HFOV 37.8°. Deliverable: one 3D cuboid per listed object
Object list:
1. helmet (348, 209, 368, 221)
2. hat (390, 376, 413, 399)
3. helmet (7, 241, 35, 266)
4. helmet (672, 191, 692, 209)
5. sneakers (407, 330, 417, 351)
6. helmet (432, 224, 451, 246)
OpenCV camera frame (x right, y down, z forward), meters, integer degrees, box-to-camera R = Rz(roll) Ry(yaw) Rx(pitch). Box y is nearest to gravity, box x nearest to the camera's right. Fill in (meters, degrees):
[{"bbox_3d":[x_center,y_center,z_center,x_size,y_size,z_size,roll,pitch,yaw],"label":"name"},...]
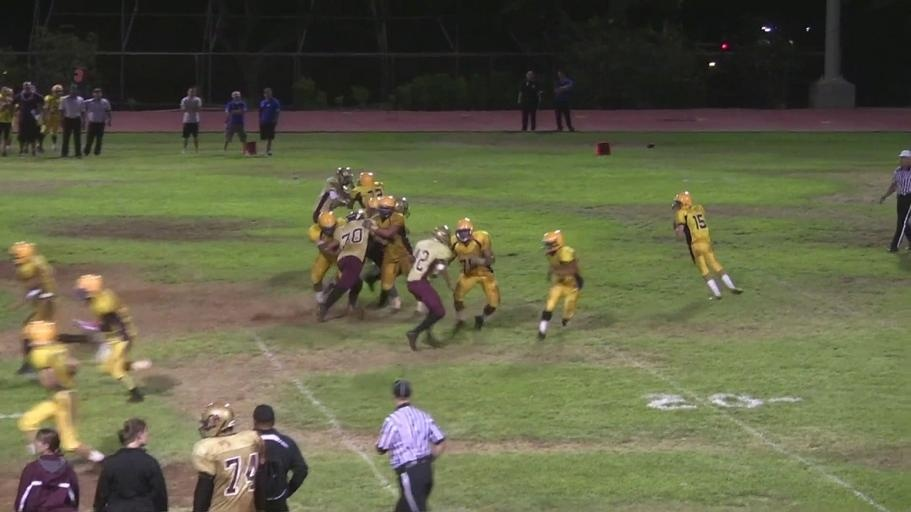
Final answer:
[{"bbox_3d":[-2.511,-1.109,35.010,0.483,0.155,0.320,-11,4,-22],"label":"helmet"},{"bbox_3d":[-1.114,2.846,28.838,0.352,0.406,0.382,0,6,-1],"label":"hat"},{"bbox_3d":[-10.801,-0.068,33.112,0.726,0.181,0.584,-2,31,-1],"label":"helmet"},{"bbox_3d":[6.347,-1.566,36.738,0.781,0.469,0.495,4,8,11],"label":"helmet"},{"bbox_3d":[-1.003,2.156,34.211,0.325,0.508,0.202,-5,10,20],"label":"sneakers"},{"bbox_3d":[-0.311,-0.548,34.778,0.450,0.483,0.513,-31,27,-3],"label":"helmet"}]
